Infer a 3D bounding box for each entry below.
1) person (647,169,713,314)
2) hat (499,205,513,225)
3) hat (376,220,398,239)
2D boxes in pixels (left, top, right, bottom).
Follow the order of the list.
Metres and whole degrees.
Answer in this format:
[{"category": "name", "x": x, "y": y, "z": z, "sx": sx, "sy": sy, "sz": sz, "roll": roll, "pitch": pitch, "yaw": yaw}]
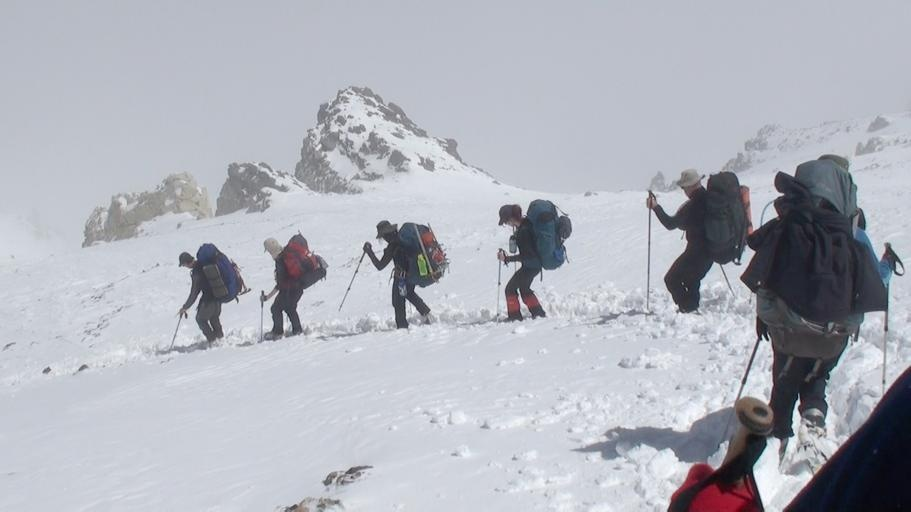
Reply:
[{"category": "person", "x": 6.065, "y": -0.318, "z": 16.986, "sx": 1.222, "sy": 3.730, "sz": 0.641, "roll": -9, "pitch": 6, "yaw": 20}, {"category": "hat", "x": 1.456, "y": -1.165, "z": 18.914, "sx": 0.561, "sy": 0.314, "sz": 0.416, "roll": -34, "pitch": 8, "yaw": 26}, {"category": "hat", "x": -2.055, "y": -0.741, "z": 19.726, "sx": 0.563, "sy": 0.327, "sz": 0.619, "roll": -30, "pitch": 9, "yaw": -15}]
